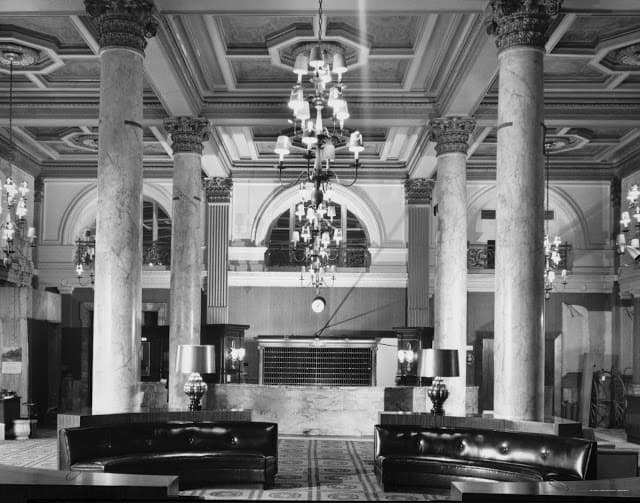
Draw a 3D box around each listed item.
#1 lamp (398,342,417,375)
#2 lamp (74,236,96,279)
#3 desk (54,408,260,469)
[{"bbox_3d":[2.023,2.483,23.463,0.464,0.805,0.334,0,-9,7],"label":"lamp"},{"bbox_3d":[-5.761,0.117,24.605,0.474,1.327,2.179,4,-10,-14],"label":"lamp"},{"bbox_3d":[-2.648,2.912,15.672,2.854,0.942,1.144,5,-10,-21],"label":"desk"}]
